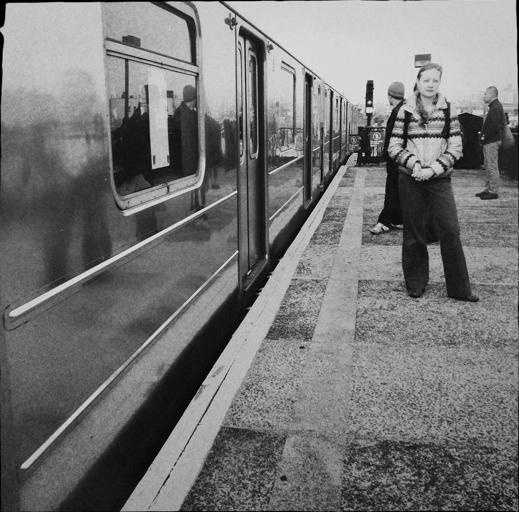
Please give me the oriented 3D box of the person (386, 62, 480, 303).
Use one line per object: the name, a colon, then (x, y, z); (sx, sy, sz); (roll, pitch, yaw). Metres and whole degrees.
person: (1.527, -0.653, 3.937); (0.597, 2.068, 0.454); (0, -2, 43)
